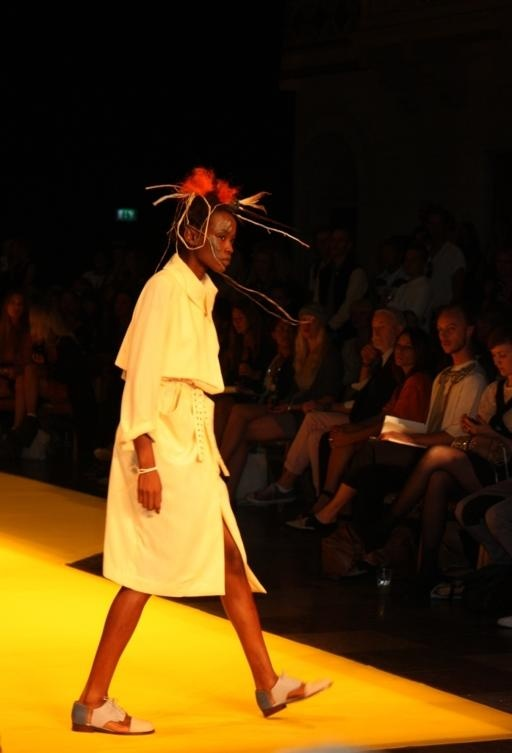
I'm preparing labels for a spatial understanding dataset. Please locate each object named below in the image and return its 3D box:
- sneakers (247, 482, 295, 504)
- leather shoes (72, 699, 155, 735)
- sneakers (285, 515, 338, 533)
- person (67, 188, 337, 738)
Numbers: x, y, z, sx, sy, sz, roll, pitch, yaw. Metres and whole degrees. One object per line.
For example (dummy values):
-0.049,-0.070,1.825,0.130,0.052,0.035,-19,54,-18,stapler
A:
0.100,0.787,4.661,0.348,0.127,0.114,0,4,0,sneakers
-0.320,0.761,1.583,0.206,0.072,0.068,2,-2,-7,leather shoes
0.317,0.859,4.031,0.277,0.084,0.095,2,10,29,sneakers
-0.067,0.205,1.736,0.858,1.277,0.441,-3,-5,3,person
